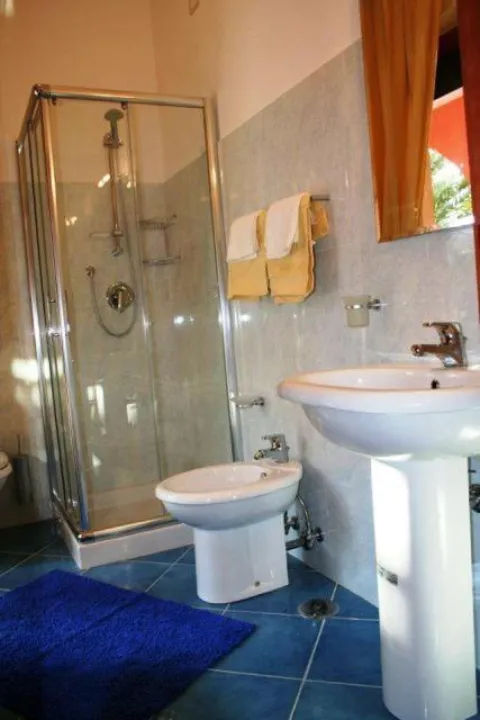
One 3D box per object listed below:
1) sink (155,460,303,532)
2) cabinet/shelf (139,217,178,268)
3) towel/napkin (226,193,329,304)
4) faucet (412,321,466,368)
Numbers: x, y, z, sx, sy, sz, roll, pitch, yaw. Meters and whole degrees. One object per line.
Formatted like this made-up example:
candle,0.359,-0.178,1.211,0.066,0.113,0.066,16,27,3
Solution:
sink,-0.022,0.444,1.853,0.347,0.136,0.293,-4,3,-33
cabinet/shelf,-0.365,-0.519,2.470,0.198,0.207,0.112,2,10,37
towel/napkin,0.142,-0.383,1.979,0.091,0.270,0.441,-4,9,-19
faucet,0.426,-0.029,1.182,0.119,0.096,0.040,-1,-10,-14
